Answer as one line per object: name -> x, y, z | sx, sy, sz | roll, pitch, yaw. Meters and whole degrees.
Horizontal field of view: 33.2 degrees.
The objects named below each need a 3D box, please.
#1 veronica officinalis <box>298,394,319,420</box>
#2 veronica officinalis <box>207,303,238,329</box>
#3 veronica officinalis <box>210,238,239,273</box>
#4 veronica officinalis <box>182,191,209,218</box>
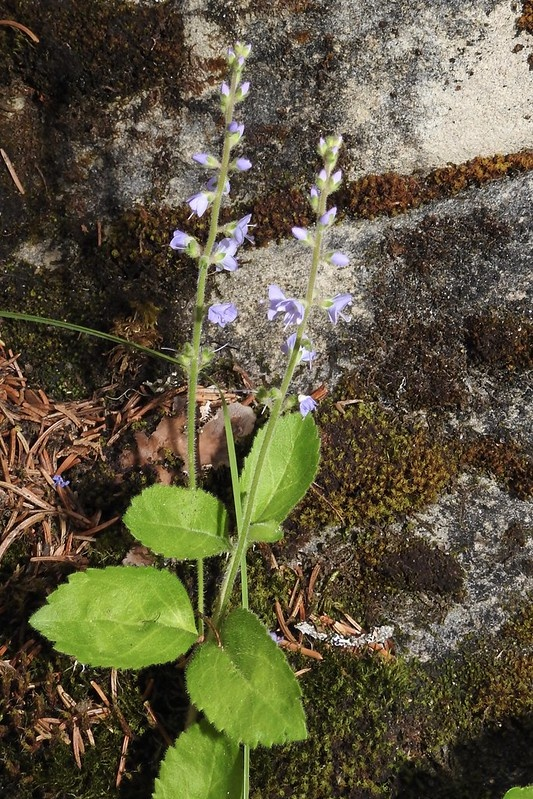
veronica officinalis -> 0.226, 0.044, 4.991 | 0.110, 0.132, 0.120 | -4, -10, 9
veronica officinalis -> -0.265, -0.478, 5.103 | 0.170, 0.173, 0.096 | 2, 37, -19
veronica officinalis -> -0.228, -0.785, 4.893 | 0.138, 0.176, 0.196 | 12, 34, -5
veronica officinalis -> -0.364, -1.036, 4.711 | 0.100, 0.138, 0.086 | -9, 41, -31
